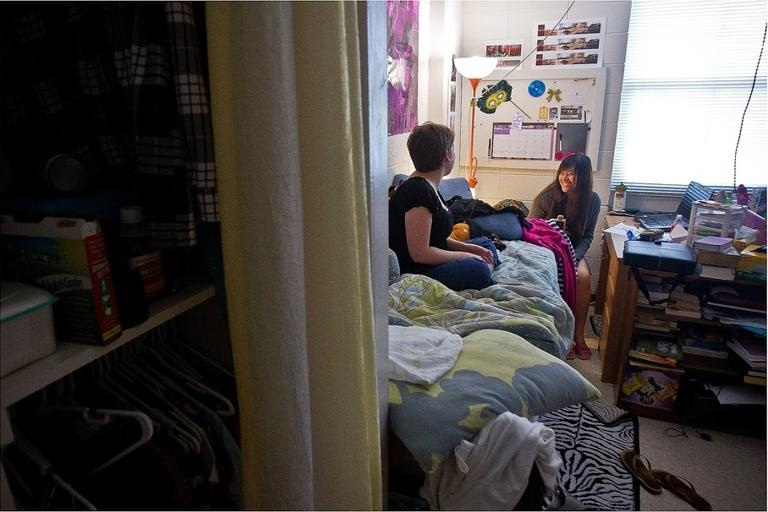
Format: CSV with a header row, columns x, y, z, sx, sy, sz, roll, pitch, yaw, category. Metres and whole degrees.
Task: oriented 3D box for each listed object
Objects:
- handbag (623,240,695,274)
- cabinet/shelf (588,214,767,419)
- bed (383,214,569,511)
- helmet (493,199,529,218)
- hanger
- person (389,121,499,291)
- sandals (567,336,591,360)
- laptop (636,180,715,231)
x,y,z,sx,sy,sz,roll,pitch,yaw,category
1.493,-0.004,2.834,0.343,0.123,0.314,10,20,24,handbag
1.624,0.322,2.938,0.710,0.985,0.638,3,-7,9,cabinet/shelf
0.288,0.495,1.653,0.638,0.187,0.610,12,44,4,bed
1.047,-0.424,4.187,0.236,0.113,0.320,6,5,5,helmet
-0.678,0.427,1.453,0.409,0.172,0.567,-36,18,-17,hanger
0.346,-0.269,2.759,0.645,0.833,0.701,1,11,-4,person
1.297,0.624,3.438,0.126,0.075,0.322,-4,13,12,sandals
2.295,-0.390,4.073,0.553,0.356,0.594,0,18,7,laptop
